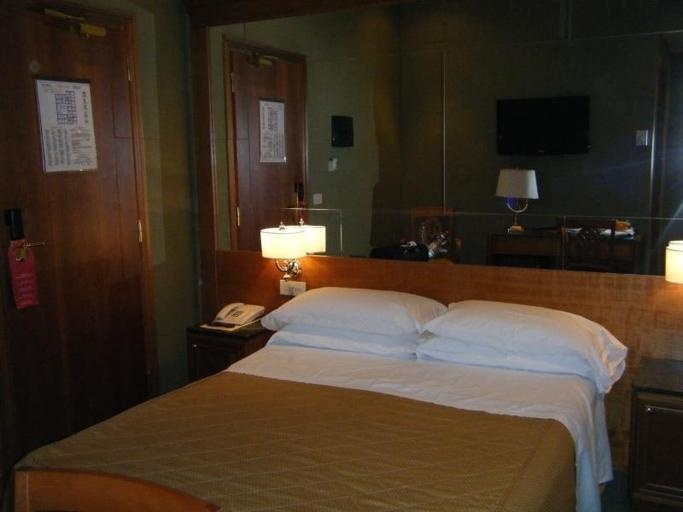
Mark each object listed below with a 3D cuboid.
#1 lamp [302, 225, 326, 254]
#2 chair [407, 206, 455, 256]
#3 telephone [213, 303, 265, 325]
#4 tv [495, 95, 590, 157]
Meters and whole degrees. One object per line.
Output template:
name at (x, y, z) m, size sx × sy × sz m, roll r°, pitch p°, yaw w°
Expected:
lamp at (-0.182, -0.109, 3.896) m, size 0.184 × 0.190 × 0.103 m, roll -1°, pitch -2°, yaw 5°
chair at (0.616, -0.155, 3.759) m, size 0.323 × 0.491 × 0.276 m, roll 1°, pitch 6°, yaw 15°
telephone at (-0.708, 0.397, 4.023) m, size 0.265 × 0.094 × 0.319 m, roll 4°, pitch 16°, yaw 24°
tv at (1.202, -0.765, 3.337) m, size 0.364 × 0.249 × 0.042 m, roll 1°, pitch 5°, yaw 23°
